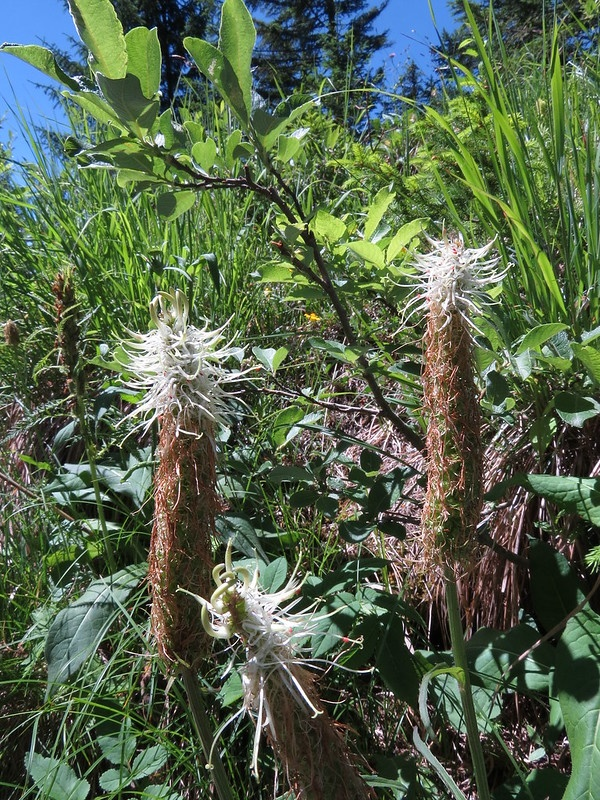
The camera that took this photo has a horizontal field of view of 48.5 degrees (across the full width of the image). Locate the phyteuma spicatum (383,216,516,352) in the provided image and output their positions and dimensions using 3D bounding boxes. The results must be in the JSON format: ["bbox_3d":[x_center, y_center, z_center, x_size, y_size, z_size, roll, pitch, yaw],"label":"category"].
[{"bbox_3d":[0.230,-0.183,1.024,0.155,0.115,0.165,8,1,28],"label":"phyteuma spicatum"}]

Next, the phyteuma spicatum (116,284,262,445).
[{"bbox_3d":[-0.160,-0.052,1.004,0.198,0.243,0.220,-4,-14,-35],"label":"phyteuma spicatum"}]
